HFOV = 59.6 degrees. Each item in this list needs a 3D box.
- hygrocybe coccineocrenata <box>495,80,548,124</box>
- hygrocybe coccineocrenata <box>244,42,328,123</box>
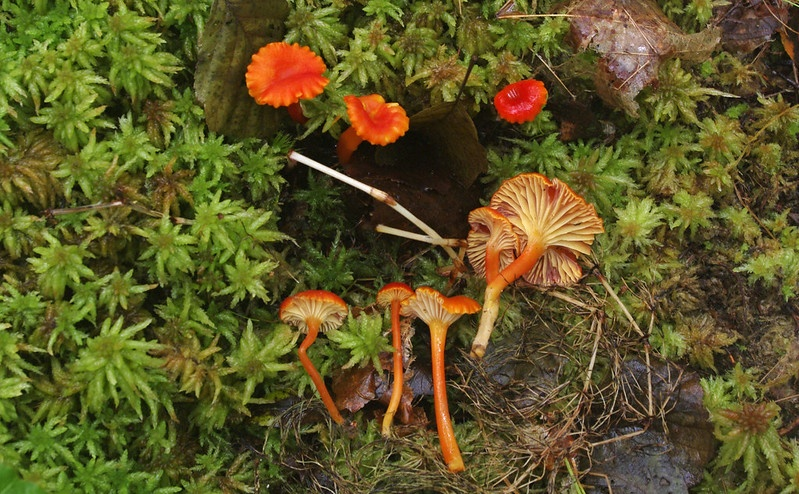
[{"bbox_3d":[1.119,-1.328,6.393,0.473,0.205,0.366,3,61,-1],"label":"hygrocybe coccineocrenata"},{"bbox_3d":[-1.026,-1.449,6.390,0.586,0.677,0.659,-10,79,-12],"label":"hygrocybe coccineocrenata"}]
